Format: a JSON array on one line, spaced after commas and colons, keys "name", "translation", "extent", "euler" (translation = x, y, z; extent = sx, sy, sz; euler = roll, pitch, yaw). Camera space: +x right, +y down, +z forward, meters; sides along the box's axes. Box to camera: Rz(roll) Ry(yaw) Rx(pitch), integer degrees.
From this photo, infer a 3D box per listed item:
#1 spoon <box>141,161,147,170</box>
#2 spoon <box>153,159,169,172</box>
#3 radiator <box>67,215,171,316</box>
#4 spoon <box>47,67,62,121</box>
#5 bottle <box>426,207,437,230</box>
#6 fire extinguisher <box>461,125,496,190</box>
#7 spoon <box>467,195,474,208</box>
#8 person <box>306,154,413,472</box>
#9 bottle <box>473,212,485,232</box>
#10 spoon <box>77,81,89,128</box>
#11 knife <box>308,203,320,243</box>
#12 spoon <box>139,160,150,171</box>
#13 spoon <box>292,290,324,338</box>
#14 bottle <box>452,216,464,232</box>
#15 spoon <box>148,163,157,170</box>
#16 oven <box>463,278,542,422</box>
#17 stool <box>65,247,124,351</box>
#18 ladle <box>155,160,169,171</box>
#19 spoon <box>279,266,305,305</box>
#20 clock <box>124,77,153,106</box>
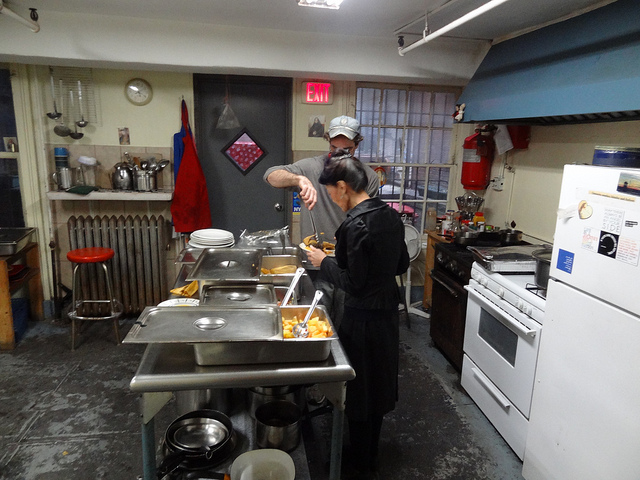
[{"name": "spoon", "translation": [-1.934, -0.815, 4.555], "extent": [0.062, 0.093, 0.022], "euler": [1, -5, 8]}, {"name": "spoon", "translation": [-1.749, -0.819, 4.584], "extent": [0.127, 0.127, 0.195], "euler": [-1, 13, -2]}, {"name": "radiator", "translation": [-2.187, 0.262, 4.444], "extent": [1.050, 1.241, 0.203], "euler": [0, 9, -5]}, {"name": "spoon", "translation": [-2.808, -1.526, 4.352], "extent": [0.127, 0.532, 0.155], "euler": [-7, 14, -26]}, {"name": "bottle", "translation": [1.288, -0.239, 4.783], "extent": [0.098, 0.244, 0.147], "euler": [-9, 15, -33]}, {"name": "fire extinguisher", "translation": [1.627, -0.871, 4.464], "extent": [0.257, 0.669, 0.296], "euler": [3, 13, -8]}, {"name": "spoon", "translation": [1.566, -0.403, 4.362], "extent": [0.064, 0.115, 0.111], "euler": [1, -25, 17]}, {"name": "person", "translation": [0.244, 0.489, 2.593], "extent": [0.567, 1.999, 0.406], "euler": [2, 13, 10]}, {"name": "bottle", "translation": [1.620, -0.195, 4.258], "extent": [0.113, 0.140, 0.238], "euler": [4, 13, 20]}, {"name": "spoon", "translation": [-2.539, -1.438, 4.407], "extent": [0.094, 0.465, 0.079], "euler": [-2, 13, -5]}, {"name": "knife", "translation": [-0.044, -0.102, 3.051], "extent": [0.041, 0.330, 0.032], "euler": [-14, 2, -15]}, {"name": "spoon", "translation": [-1.922, -0.815, 4.550], "extent": [0.090, 0.130, 0.036], "euler": [-1, -10, 4]}, {"name": "spoon", "translation": [-0.068, 0.377, 2.111], "extent": [0.079, 0.047, 0.312], "euler": [9, 35, 13]}, {"name": "bottle", "translation": [1.378, -0.144, 4.212], "extent": [0.039, 0.136, 0.131], "euler": [25, -21, -34]}, {"name": "spoon", "translation": [-1.826, -0.810, 4.539], "extent": [0.081, 0.053, 0.030], "euler": [-2, 13, -4]}, {"name": "oven", "translation": [1.311, 0.761, 3.031], "extent": [0.390, 0.715, 0.520], "euler": [3, 13, 0]}, {"name": "stool", "translation": [-2.386, 0.509, 4.368], "extent": [0.555, 0.894, 0.929], "euler": [-9, 15, -33]}, {"name": "ladle", "translation": [-1.738, -0.820, 4.575], "extent": [0.073, 0.111, 0.170], "euler": [3, 13, 16]}, {"name": "spoon", "translation": [-0.144, 0.250, 2.440], "extent": [0.057, 0.059, 0.400], "euler": [28, 30, 0]}, {"name": "clock", "translation": [-1.959, -1.602, 4.493], "extent": [0.258, 0.273, 0.059], "euler": [6, 4, -14]}]
